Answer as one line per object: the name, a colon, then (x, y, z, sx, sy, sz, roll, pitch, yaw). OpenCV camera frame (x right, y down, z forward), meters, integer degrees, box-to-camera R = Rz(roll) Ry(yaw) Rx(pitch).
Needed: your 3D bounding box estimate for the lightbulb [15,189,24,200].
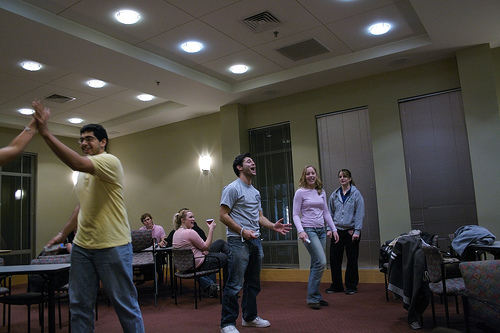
lightbulb: (-6.412, 0.763, 8.834, 0.184, 0.215, 0.214, 2, -9, -12)

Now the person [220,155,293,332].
person: (-0.089, 0.886, 3.871, 0.466, 2.062, 0.658, -7, -9, 28)

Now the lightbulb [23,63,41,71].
lightbulb: (-4.147, -1.892, 6.082, 0.292, 0.076, 0.185, 1, -10, -25)

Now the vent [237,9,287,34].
vent: (0.197, -2.362, 5.243, 0.649, 0.052, 0.473, -7, -10, 23)

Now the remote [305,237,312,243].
remote: (0.822, 1.032, 4.565, 0.045, 0.091, 0.208, -6, -9, 22)

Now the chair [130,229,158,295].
chair: (-2.130, 1.792, 6.105, 0.651, 1.134, 0.801, -1, -9, -8)

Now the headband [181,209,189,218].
headband: (-1.177, 0.818, 5.680, 0.058, 0.144, 0.141, -5, -9, 13)

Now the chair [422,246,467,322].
chair: (2.230, 1.325, 3.590, 0.515, 0.792, 0.463, 1, -9, 1)

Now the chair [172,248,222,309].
chair: (-0.948, 1.851, 5.489, 0.621, 0.966, 0.694, -11, -12, 42)

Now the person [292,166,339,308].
person: (0.953, 1.035, 4.824, 0.743, 2.088, 0.359, 3, -10, -34)
